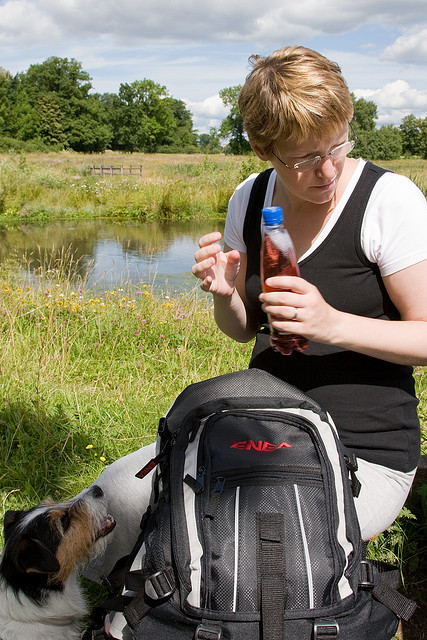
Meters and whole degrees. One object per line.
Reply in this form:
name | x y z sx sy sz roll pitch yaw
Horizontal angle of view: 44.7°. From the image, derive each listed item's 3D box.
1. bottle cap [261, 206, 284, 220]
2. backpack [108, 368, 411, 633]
bottle cap | 0.170 -0.311 1.520 0.056 0.035 0.054 -1 18 1
backpack | 0.140 0.494 1.438 0.800 0.285 0.932 0 51 -2
